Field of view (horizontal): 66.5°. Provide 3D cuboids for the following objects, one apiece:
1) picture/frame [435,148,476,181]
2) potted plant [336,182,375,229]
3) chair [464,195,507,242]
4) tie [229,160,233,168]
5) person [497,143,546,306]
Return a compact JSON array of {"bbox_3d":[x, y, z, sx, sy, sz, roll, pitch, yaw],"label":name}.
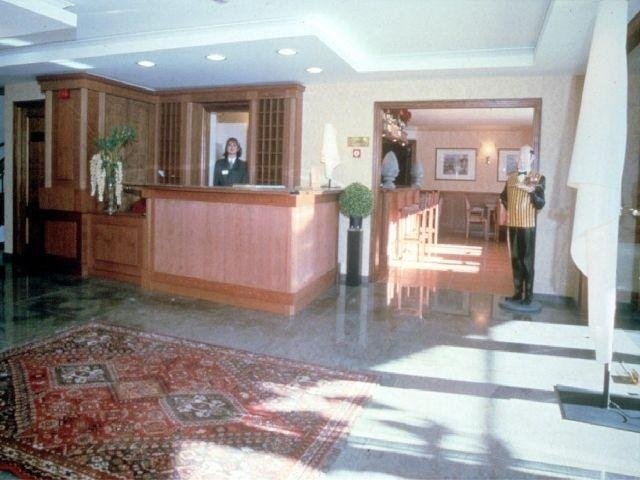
[{"bbox_3d":[3.613,-1.990,12.803,0.856,0.724,0.060,2,0,13],"label":"picture/frame"},{"bbox_3d":[0.528,-0.479,6.871,0.493,0.639,0.421,0,12,-2],"label":"potted plant"},{"bbox_3d":[4.047,-0.504,11.883,1.090,1.040,1.347,0,9,15],"label":"chair"},{"bbox_3d":[-1.366,-1.176,7.544,0.068,0.115,0.044,-3,13,-16],"label":"tie"},{"bbox_3d":[2.405,-0.164,5.841,0.462,1.878,0.378,7,13,26],"label":"person"}]
